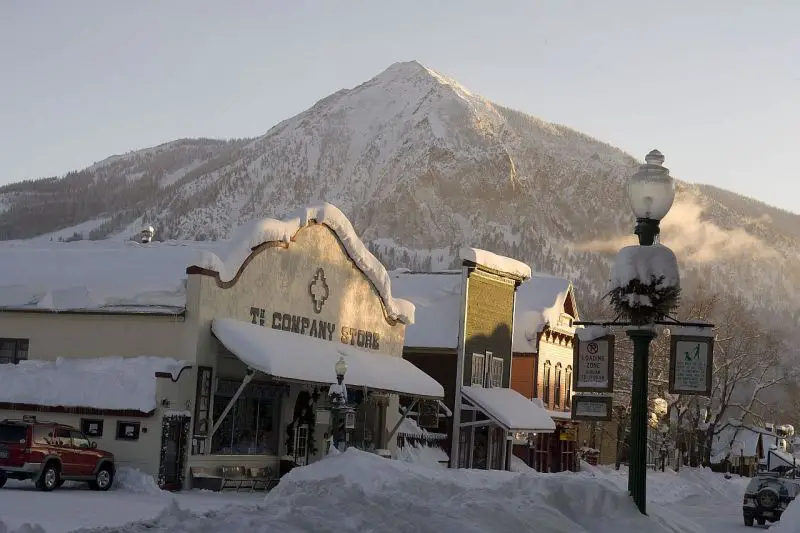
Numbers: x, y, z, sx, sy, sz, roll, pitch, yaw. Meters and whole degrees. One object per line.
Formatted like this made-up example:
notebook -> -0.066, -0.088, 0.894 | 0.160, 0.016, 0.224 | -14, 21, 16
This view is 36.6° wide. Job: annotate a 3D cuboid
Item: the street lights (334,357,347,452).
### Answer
street lights -> -2.145, 5.062, 44.246 | 0.433, 3.368, 0.647 | 0, 0, -4
